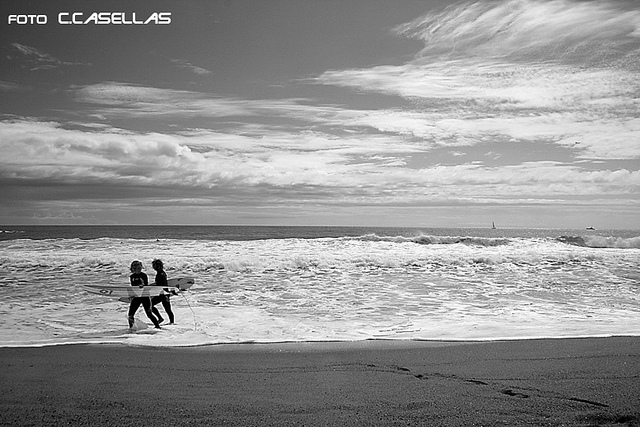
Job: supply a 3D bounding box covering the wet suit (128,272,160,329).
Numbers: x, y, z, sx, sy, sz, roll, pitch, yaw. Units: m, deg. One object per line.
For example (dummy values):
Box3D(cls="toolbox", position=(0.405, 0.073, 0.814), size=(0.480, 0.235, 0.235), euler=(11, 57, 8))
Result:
Box3D(cls="wet suit", position=(-5.173, 2.452, 17.204), size=(0.779, 1.538, 0.885), euler=(-3, 14, -16))
